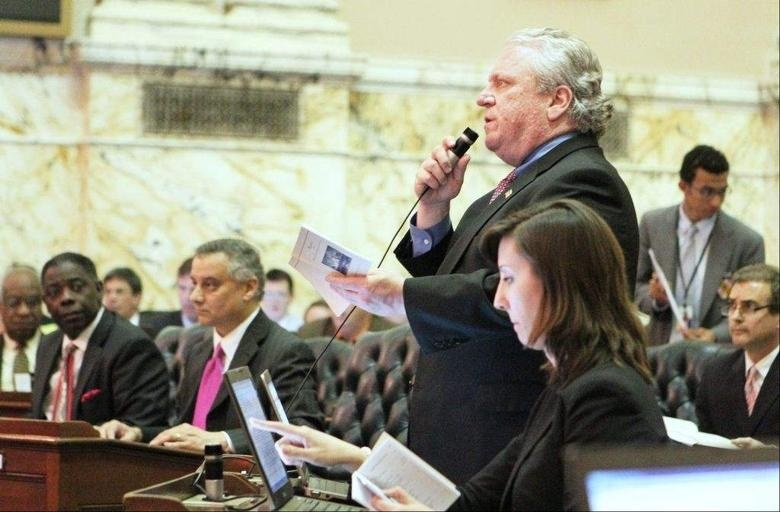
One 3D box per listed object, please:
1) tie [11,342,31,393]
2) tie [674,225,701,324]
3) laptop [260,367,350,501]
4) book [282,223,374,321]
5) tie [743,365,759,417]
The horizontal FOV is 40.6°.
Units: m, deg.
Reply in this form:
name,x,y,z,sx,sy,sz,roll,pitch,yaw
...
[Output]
name,x,y,z,sx,sy,sz,roll,pitch,yaw
tie,-2.081,0.630,5.921,0.084,0.279,0.023,-4,7,-17
tie,1.634,0.093,5.740,0.138,0.505,0.080,2,-4,20
laptop,-0.346,0.780,4.230,0.371,0.472,0.505,-12,-5,2
book,-0.260,0.032,4.318,0.351,0.086,0.360,31,27,-17
tie,1.781,0.650,5.128,0.062,0.235,0.017,2,-12,9
